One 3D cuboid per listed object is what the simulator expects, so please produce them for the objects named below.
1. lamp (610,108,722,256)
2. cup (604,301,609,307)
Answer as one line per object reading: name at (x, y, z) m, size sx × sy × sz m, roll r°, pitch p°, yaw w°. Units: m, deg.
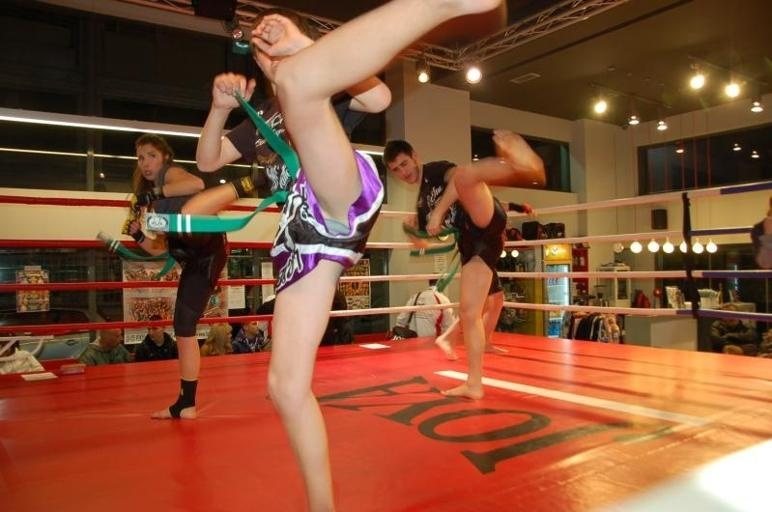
lamp at (5.263, -1.488, 9.837) m, size 2.774 × 2.566 × 0.918 m, roll -5°, pitch -7°, yaw 33°
cup at (4.283, 0.919, 10.278) m, size 0.093 × 0.103 × 0.091 m, roll -1°, pitch -9°, yaw 0°
